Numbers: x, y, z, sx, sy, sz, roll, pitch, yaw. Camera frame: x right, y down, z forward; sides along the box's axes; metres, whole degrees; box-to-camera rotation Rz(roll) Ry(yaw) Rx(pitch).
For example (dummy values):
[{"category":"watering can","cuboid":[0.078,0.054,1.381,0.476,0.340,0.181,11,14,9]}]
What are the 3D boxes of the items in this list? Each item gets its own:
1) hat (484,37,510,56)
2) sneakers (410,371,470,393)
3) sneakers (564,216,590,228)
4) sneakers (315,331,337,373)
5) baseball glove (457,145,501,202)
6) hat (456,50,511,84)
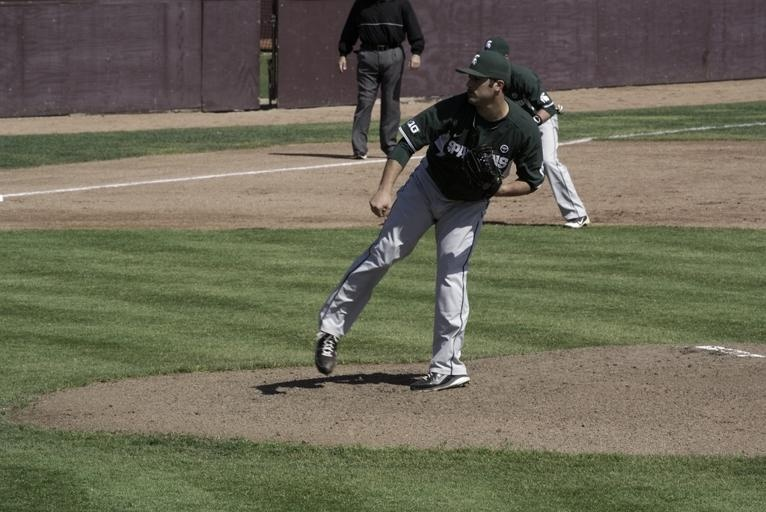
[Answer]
[{"category":"hat","cuboid":[1.457,-2.664,22.701,0.286,0.229,0.411,10,32,7]},{"category":"sneakers","cuboid":[0.634,1.438,20.157,0.684,0.297,0.242,2,2,-8]},{"category":"sneakers","cuboid":[2.565,-0.459,23.658,0.368,0.168,0.133,-5,9,-33]},{"category":"sneakers","cuboid":[-0.654,1.116,20.003,0.181,0.503,0.200,4,-37,-20]},{"category":"baseball glove","cuboid":[1.121,-0.941,19.809,0.432,0.590,0.276,-5,8,-37]},{"category":"hat","cuboid":[1.135,-2.160,19.846,0.651,0.319,0.451,10,6,-17]}]
